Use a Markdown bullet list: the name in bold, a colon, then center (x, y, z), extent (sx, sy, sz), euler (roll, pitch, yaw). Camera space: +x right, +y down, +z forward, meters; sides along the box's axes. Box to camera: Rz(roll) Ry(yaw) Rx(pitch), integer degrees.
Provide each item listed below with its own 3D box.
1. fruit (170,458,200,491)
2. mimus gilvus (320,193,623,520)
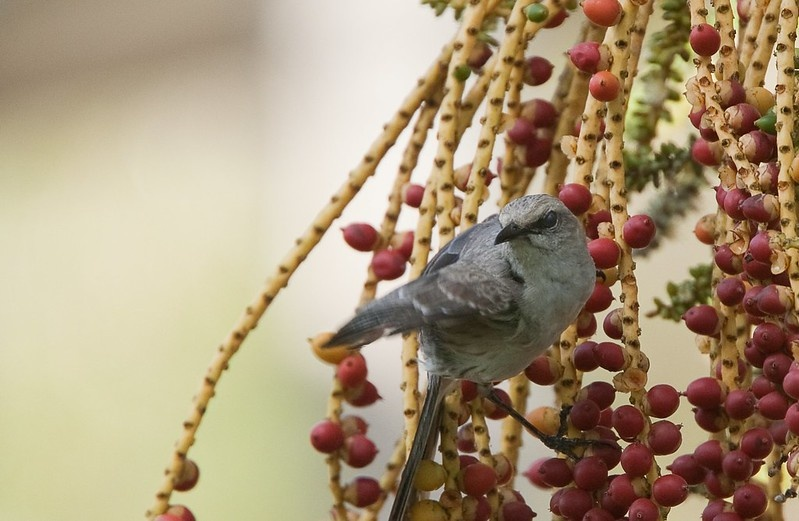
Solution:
- **fruit**: center (-0.270, 0.276, 1.441), extent (0.031, 0.011, 0.040), euler (12, -89, -30)
- **mimus gilvus**: center (0.057, 0.137, 1.546), extent (0.499, 0.327, 0.232), euler (-26, 9, 30)
